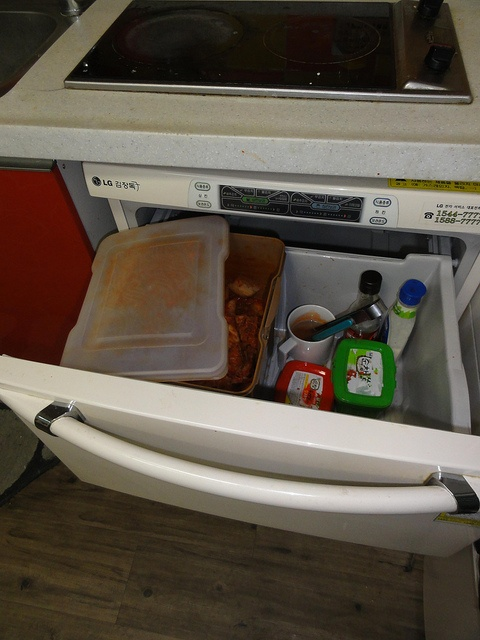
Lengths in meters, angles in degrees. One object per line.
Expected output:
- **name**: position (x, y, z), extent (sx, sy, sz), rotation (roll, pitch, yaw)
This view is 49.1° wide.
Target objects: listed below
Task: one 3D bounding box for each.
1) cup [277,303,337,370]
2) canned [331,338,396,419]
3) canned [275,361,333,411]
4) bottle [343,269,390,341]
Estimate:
- **cup**: position (0.128, 0.017, 1.010), extent (0.084, 0.094, 0.135), rotation (27, 61, 24)
- **canned**: position (0.205, 0.098, 0.912), extent (0.104, 0.115, 0.119), rotation (2, 59, 14)
- **canned**: position (0.106, 0.121, 0.891), extent (0.095, 0.039, 0.108), rotation (12, 51, -2)
- **bottle**: position (0.225, -0.026, 0.924), extent (0.071, 0.206, 0.068), rotation (-4, 61, 8)
